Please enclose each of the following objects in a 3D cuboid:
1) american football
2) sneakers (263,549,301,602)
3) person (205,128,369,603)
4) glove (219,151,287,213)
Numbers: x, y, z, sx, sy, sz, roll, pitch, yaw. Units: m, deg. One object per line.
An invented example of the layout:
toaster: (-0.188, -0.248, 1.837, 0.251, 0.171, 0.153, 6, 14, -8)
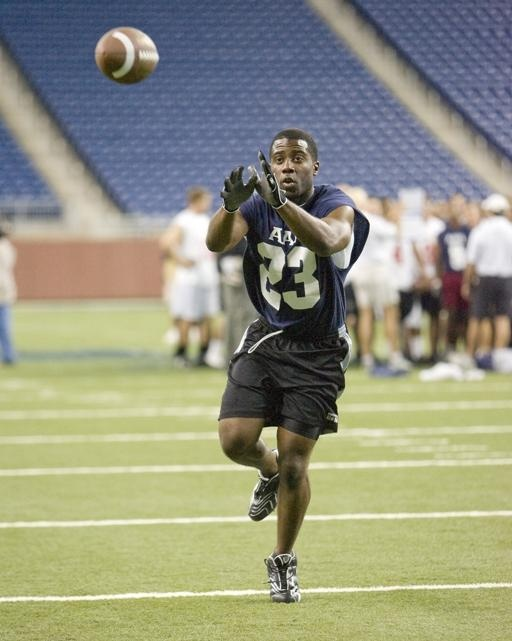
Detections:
american football: (-0.654, -1.405, 6.073, 0.362, 0.256, 0.245, -7, 46, 14)
sneakers: (0.121, 1.159, 5.233, 0.105, 0.107, 0.270, -2, 14, -7)
person: (0.109, 0.180, 5.340, 0.720, 2.139, 0.991, 4, 4, 7)
glove: (-0.012, -0.602, 4.970, 0.253, 0.156, 0.305, -2, 14, 8)
